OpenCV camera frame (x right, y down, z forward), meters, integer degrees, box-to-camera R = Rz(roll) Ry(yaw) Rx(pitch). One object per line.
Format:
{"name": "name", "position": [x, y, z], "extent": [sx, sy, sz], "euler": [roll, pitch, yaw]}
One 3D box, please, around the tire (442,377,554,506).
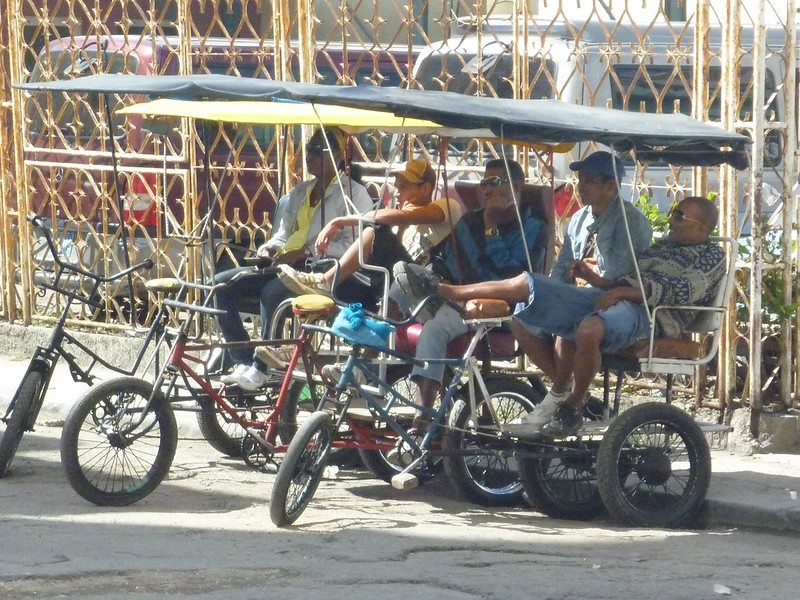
{"name": "tire", "position": [0.682, 0.941, 13.063], "extent": [0.808, 0.902, 0.183], "euler": [25, 16, 37]}

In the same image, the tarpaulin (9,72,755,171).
{"name": "tarpaulin", "position": [0.274, -1.205, 12.768], "extent": [4.292, 0.529, 1.095], "euler": [1, 3, -5]}

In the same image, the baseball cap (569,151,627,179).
{"name": "baseball cap", "position": [1.356, -0.920, 13.074], "extent": [0.266, 0.151, 0.203], "euler": [6, 0, -7]}

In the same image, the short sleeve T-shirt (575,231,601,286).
{"name": "short sleeve T-shirt", "position": [1.282, -0.277, 13.114], "extent": [0.105, 0.342, 0.229], "euler": [2, 3, 19]}

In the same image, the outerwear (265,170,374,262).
{"name": "outerwear", "position": [-0.656, -0.619, 14.141], "extent": [0.826, 0.722, 0.657], "euler": [9, 3, 38]}

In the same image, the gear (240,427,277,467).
{"name": "gear", "position": [-1.017, 1.029, 13.351], "extent": [0.257, 0.304, 0.102], "euler": [6, 8, 9]}

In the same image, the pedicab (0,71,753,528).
{"name": "pedicab", "position": [-0.330, 0.090, 13.486], "extent": [4.807, 3.463, 2.661], "euler": [3, -5, -18]}

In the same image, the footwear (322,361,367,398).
{"name": "footwear", "position": [-0.345, 0.505, 12.772], "extent": [0.390, 0.180, 0.139], "euler": [33, -13, -34]}

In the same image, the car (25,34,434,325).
{"name": "car", "position": [-0.945, -1.340, 13.484], "extent": [2.345, 1.775, 0.766], "euler": [2, 49, 0]}

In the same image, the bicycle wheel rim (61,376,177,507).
{"name": "bicycle wheel rim", "position": [-1.880, 0.977, 12.875], "extent": [0.639, 0.670, 0.161], "euler": [-19, 16, -38]}

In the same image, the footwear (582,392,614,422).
{"name": "footwear", "position": [1.366, 0.747, 13.273], "extent": [0.127, 0.176, 0.181], "euler": [2, -7, 5]}

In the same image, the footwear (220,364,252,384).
{"name": "footwear", "position": [-1.139, 0.517, 13.229], "extent": [0.091, 0.123, 0.263], "euler": [-2, 0, 27]}

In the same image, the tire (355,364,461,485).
{"name": "tire", "position": [0.059, 0.824, 12.859], "extent": [0.714, 0.921, 0.138], "euler": [-2, 6, -21]}

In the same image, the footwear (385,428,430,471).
{"name": "footwear", "position": [0.028, 1.036, 12.750], "extent": [0.257, 0.294, 0.095], "euler": [-5, 12, -30]}

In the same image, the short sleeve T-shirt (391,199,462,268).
{"name": "short sleeve T-shirt", "position": [0.185, -0.465, 13.637], "extent": [0.188, 0.365, 0.359], "euler": [24, 2, -34]}

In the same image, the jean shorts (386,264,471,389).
{"name": "jean shorts", "position": [0.146, 0.147, 13.026], "extent": [0.267, 0.956, 0.422], "euler": [10, 32, 31]}

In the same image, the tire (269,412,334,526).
{"name": "tire", "position": [-0.658, 1.115, 12.576], "extent": [0.182, 0.645, 0.595], "euler": [17, 12, 22]}

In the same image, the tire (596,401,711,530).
{"name": "tire", "position": [1.683, 1.137, 12.793], "extent": [0.610, 0.694, 0.127], "euler": [17, -3, -18]}

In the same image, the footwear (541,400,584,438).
{"name": "footwear", "position": [1.078, 0.807, 12.766], "extent": [0.131, 0.185, 0.396], "euler": [21, 12, 35]}

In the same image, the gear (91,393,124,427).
{"name": "gear", "position": [-1.968, 0.703, 12.766], "extent": [0.216, 0.232, 0.086], "euler": [-33, 47, -19]}

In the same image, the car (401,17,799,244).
{"name": "car", "position": [1.626, -1.213, 14.873], "extent": [2.483, 1.640, 1.692], "euler": [4, 0, -26]}

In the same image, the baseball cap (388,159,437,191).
{"name": "baseball cap", "position": [0.105, -0.918, 13.732], "extent": [0.242, 0.143, 0.185], "euler": [19, -1, -21]}
